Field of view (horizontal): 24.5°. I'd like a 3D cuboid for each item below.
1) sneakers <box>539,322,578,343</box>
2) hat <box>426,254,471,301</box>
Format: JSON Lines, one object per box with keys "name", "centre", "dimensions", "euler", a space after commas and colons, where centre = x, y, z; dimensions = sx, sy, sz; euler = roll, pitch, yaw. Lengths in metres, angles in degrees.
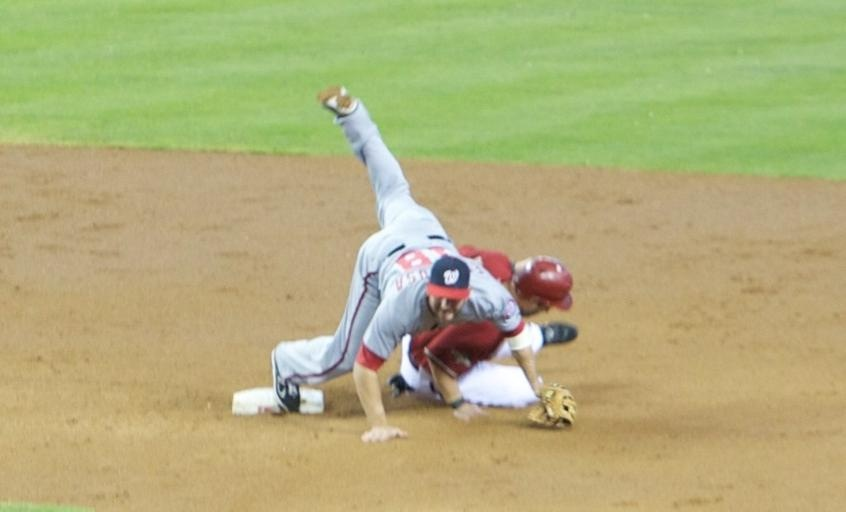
{"name": "sneakers", "centre": [2.138, 1.208, 30.118], "dimensions": [0.698, 0.229, 0.265], "euler": [-5, 8, -7]}
{"name": "hat", "centre": [0.396, 0.275, 28.007], "dimensions": [0.680, 0.461, 0.900], "euler": [8, 22, 6]}
